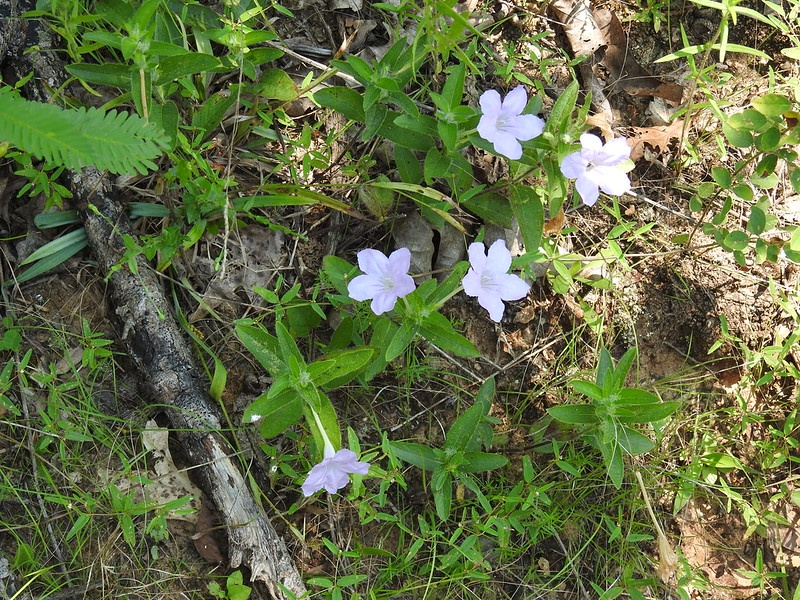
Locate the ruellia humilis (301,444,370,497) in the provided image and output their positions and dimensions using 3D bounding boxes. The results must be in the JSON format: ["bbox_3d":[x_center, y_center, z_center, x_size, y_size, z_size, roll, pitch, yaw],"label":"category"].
[{"bbox_3d":[-0.303,0.747,3.119,0.216,0.285,0.087,-4,91,-37],"label":"ruellia humilis"}]

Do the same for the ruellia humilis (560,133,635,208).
[{"bbox_3d":[0.958,-0.640,3.269,0.334,0.160,0.352,-9,101,-6],"label":"ruellia humilis"}]

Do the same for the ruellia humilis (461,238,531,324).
[{"bbox_3d":[0.458,-0.096,3.264,0.327,0.143,0.394,-19,100,-18],"label":"ruellia humilis"}]
